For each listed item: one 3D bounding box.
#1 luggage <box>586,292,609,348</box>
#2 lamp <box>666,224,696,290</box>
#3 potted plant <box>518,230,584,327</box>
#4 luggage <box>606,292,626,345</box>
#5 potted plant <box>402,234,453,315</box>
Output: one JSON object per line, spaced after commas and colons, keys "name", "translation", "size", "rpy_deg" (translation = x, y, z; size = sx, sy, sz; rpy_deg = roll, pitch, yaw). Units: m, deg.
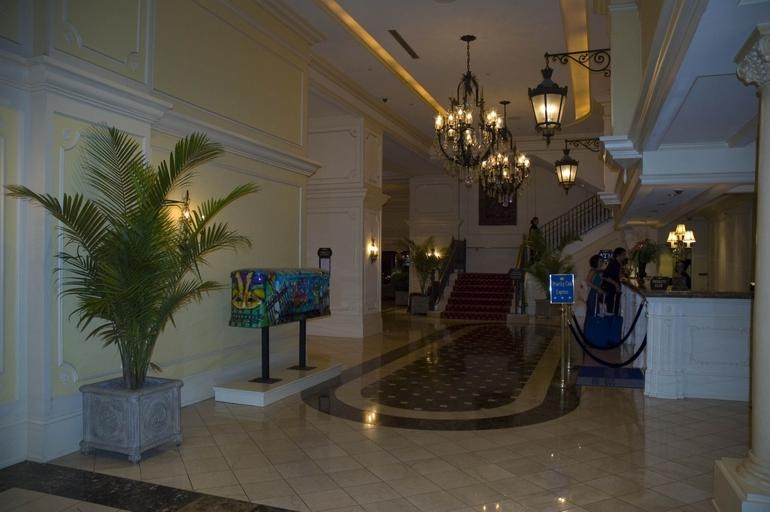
{"name": "luggage", "translation": [4.004, 1.204, 9.907], "size": [0.407, 1.092, 0.125], "rpy_deg": [5, 11, 5]}
{"name": "lamp", "translation": [8.200, -0.068, 14.609], "size": [0.627, 1.622, 0.625], "rpy_deg": [2, 9, 42]}
{"name": "potted plant", "translation": [4.969, 0.504, 16.393], "size": [1.443, 2.595, 1.797], "rpy_deg": [1, 5, 15]}
{"name": "luggage", "translation": [4.536, 1.187, 10.170], "size": [0.263, 1.072, 0.350], "rpy_deg": [2, -10, -17]}
{"name": "potted plant", "translation": [1.559, 0.566, 18.271], "size": [1.471, 2.398, 2.472], "rpy_deg": [0, 5, 4]}
